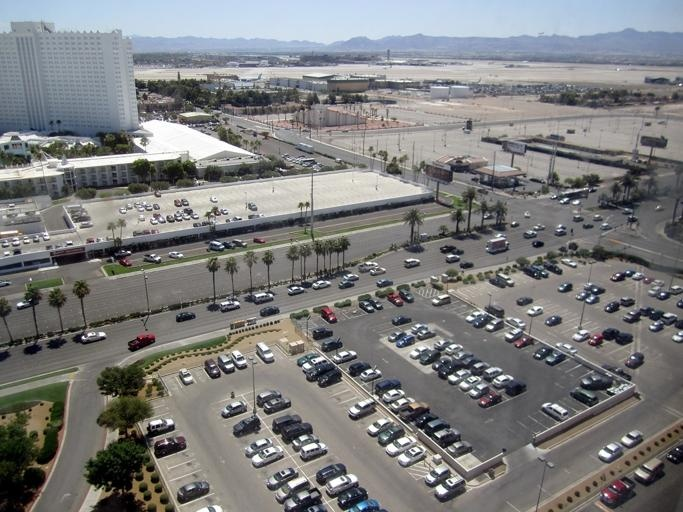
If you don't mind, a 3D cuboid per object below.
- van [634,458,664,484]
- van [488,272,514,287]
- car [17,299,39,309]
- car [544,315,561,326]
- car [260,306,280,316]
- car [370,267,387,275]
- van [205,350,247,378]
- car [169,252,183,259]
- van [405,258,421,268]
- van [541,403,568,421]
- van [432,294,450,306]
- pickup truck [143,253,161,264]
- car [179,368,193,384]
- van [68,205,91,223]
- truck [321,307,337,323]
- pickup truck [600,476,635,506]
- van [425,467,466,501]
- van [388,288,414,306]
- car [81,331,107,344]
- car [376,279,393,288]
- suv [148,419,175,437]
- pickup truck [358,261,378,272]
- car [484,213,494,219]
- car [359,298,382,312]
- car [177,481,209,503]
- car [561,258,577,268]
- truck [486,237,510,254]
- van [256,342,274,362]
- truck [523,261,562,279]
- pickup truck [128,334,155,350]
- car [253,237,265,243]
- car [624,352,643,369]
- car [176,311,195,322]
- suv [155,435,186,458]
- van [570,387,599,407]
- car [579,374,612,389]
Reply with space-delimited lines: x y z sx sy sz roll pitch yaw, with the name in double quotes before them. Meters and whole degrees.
"van" 36.463 25.617 64.016 3.012 0.850 2.792 -27 26 -14
"van" 30.094 4.425 101.439 4.253 1.651 3.976 -8 24 -15
"car" -53.248 8.118 90.701 3.750 1.252 2.103 -7 16 -41
"car" 35.290 10.761 89.728 2.449 0.648 1.547 -18 26 -22
"car" -11.949 9.281 90.421 2.624 0.672 1.575 -7 22 -27
"car" 7.165 3.022 103.993 2.675 0.749 1.372 -9 37 -10
"van" -16.769 15.504 78.295 5.248 1.372 3.767 -15 30 -35
"car" -33.019 -0.111 107.358 2.215 0.531 1.396 14 26 29
"van" 14.124 1.550 107.175 3.095 1.266 1.468 -15 45 -15
"van" 28.233 20.433 71.132 1.865 1.109 2.812 -12 28 -32
"van" 17.494 7.687 94.334 3.205 1.215 1.542 -8 28 -21
"pickup truck" -37.065 0.603 105.720 3.713 1.129 1.693 8 25 17
"car" -21.923 16.868 75.690 1.249 0.766 2.631 -26 33 -26
"van" -58.541 -8.502 120.490 3.903 2.334 6.521 -16 41 -35
"truck" -1.928 9.834 89.135 1.897 1.227 2.921 -10 24 -25
"pickup truck" 31.796 27.132 61.800 4.707 1.491 1.974 -19 38 -23
"van" 12.231 26.550 61.684 3.960 1.187 1.784 -6 24 -32
"van" 10.317 7.287 94.844 4.109 1.405 4.255 -3 23 -2
"car" -37.940 12.493 82.913 3.335 0.791 1.639 -7 36 -23
"car" 7.977 5.040 99.744 3.049 0.891 2.262 -9 24 -17
"suv" -22.676 21.428 67.565 3.196 1.373 1.617 -13 27 -24
"pickup truck" 5.189 2.047 105.205 3.315 1.191 1.751 -13 39 -15
"car" 35.930 -9.684 131.816 2.061 0.977 1.532 -11 45 -2
"car" 4.954 8.570 92.618 3.145 1.166 2.986 -14 26 -26
"car" -16.556 26.373 60.220 3.450 1.406 1.474 -12 27 -23
"car" 45.825 1.411 108.535 1.753 0.817 2.561 -17 33 -18
"truck" 33.501 -2.409 114.700 5.515 2.183 2.947 -11 25 -19
"van" -11.408 14.335 80.263 1.691 1.042 3.411 -22 35 -28
"truck" 38.743 2.657 105.518 6.259 1.557 5.124 -16 27 -32
"pickup truck" -30.366 13.295 82.091 3.322 1.209 2.012 -16 33 -32
"car" -17.646 -3.252 114.723 1.311 0.568 2.021 -12 22 -38
"car" 44.302 15.742 81.437 2.830 0.724 1.986 -30 27 -21
"car" -25.588 10.027 88.784 2.647 0.810 1.458 -7 18 -28
"suv" -20.784 23.133 65.229 3.748 1.347 1.773 -12 40 -17
"van" 33.225 19.279 73.971 1.980 1.129 2.876 -14 29 -33
"car" 35.906 17.883 76.185 3.253 0.903 1.991 -7 18 -13
